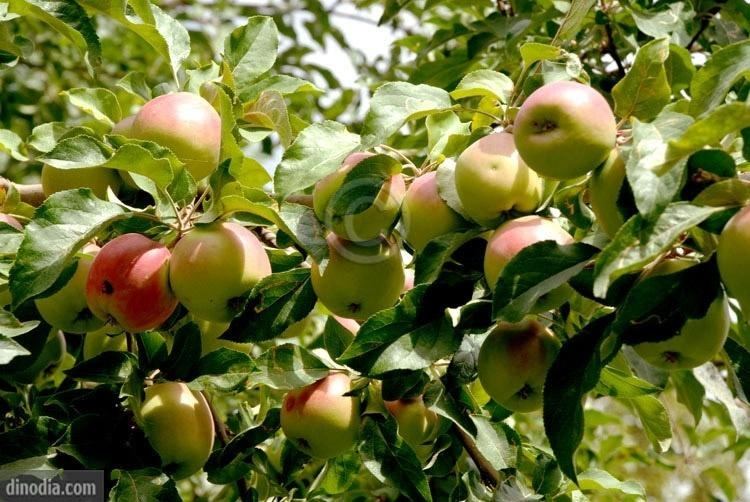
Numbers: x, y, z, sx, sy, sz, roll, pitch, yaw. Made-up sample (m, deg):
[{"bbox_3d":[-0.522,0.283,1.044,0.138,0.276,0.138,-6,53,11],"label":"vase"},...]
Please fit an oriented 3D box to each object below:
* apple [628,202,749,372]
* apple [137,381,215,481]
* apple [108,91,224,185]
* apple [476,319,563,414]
[{"bbox_3d":[0.965,0.137,2.413,0.268,0.463,0.202,31,6,36],"label":"apple"},{"bbox_3d":[-0.688,0.618,2.873,0.277,0.286,0.197,18,20,-35],"label":"apple"},{"bbox_3d":[-0.675,-0.409,2.766,0.341,0.308,0.308,-9,45,-21],"label":"apple"},{"bbox_3d":[0.409,0.374,2.738,0.256,0.285,0.320,4,50,-8],"label":"apple"}]
